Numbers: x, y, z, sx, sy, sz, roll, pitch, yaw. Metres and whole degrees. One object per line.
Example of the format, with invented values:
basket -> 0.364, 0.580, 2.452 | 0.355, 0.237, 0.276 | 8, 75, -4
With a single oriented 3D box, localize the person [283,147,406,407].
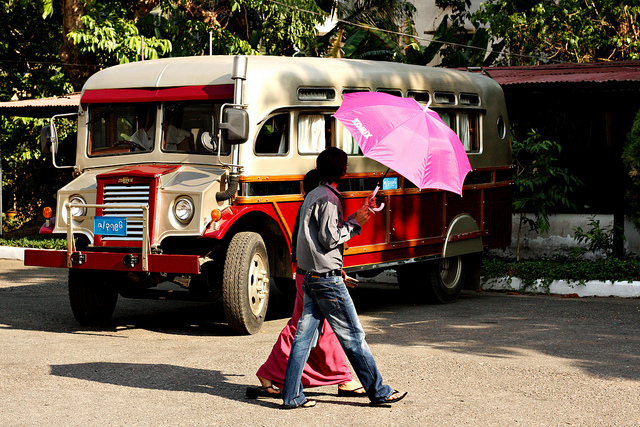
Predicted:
person -> 0.154, 0.728, 8.763 | 1.127, 2.885, 0.408 | 0, 6, -4

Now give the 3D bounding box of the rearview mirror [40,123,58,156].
rearview mirror -> -4.219, -1.146, 12.208 | 0.225, 0.489, 0.270 | -2, 6, -23

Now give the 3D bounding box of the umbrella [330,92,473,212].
umbrella -> 1.025, -0.881, 9.460 | 1.544, 1.187, 1.167 | 2, 6, 10

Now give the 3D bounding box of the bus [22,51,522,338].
bus -> -0.372, -0.375, 13.527 | 8.195, 4.057, 3.977 | 1, -2, -43
